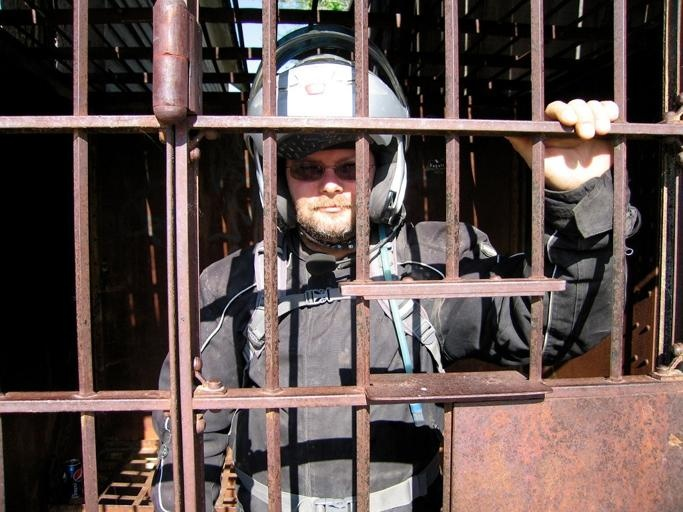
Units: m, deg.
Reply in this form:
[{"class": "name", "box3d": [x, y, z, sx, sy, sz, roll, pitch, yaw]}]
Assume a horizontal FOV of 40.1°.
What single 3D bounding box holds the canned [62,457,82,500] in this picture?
[{"class": "canned", "box3d": [-2.163, 1.816, 7.539, 0.143, 0.308, 0.181, -5, 5, -19]}]
